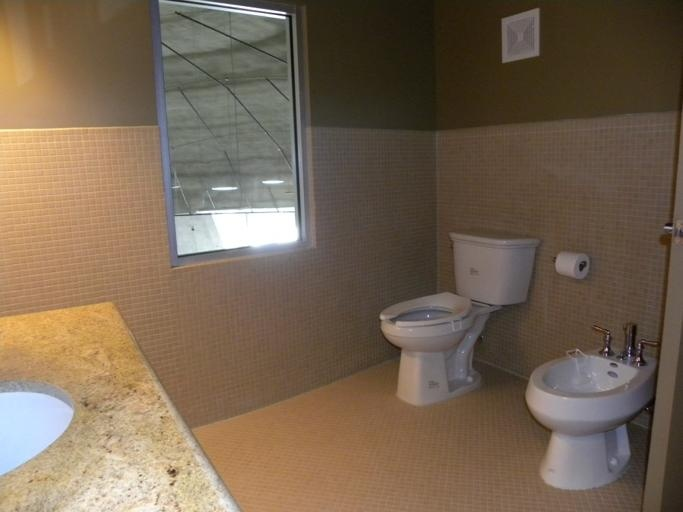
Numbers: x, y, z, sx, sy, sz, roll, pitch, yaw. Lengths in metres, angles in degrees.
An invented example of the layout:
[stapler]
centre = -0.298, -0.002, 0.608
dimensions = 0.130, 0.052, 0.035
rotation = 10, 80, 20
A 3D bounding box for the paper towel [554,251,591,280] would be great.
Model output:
[paper towel]
centre = 1.319, 0.062, 2.910
dimensions = 0.149, 0.182, 0.158
rotation = -16, 17, -39

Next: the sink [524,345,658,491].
[sink]
centre = 1.225, 0.771, 2.559
dimensions = 0.731, 0.504, 0.447
rotation = -11, 14, -36

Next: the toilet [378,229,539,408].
[toilet]
centre = 0.710, 0.379, 3.260
dimensions = 1.008, 0.994, 0.557
rotation = -9, 14, -30
